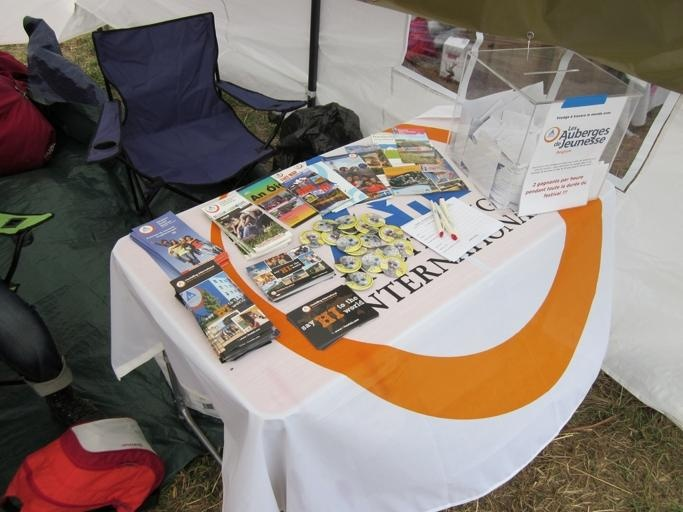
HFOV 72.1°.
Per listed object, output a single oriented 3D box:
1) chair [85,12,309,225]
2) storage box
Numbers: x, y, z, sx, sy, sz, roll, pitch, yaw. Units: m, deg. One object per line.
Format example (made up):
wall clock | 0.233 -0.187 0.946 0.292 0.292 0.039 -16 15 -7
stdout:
chair | -0.967 -0.779 3.506 1.513 1.226 1.270 -25 68 -20
storage box | 0.694 -0.513 1.887 0.614 0.620 0.612 -15 37 -31
